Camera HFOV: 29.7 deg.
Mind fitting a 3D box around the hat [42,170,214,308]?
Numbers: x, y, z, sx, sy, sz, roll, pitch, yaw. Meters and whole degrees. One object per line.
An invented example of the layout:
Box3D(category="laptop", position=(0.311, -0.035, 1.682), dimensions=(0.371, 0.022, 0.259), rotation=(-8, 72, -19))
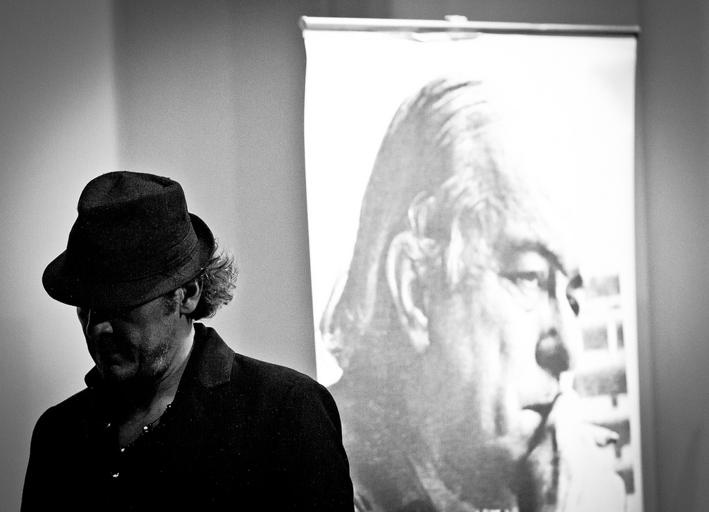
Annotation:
Box3D(category="hat", position=(-0.708, -0.047, 4.142), dimensions=(0.514, 0.419, 0.203), rotation=(-3, 2, -13))

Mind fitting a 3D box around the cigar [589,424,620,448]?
Box3D(category="cigar", position=(0.912, 0.650, 4.873), dimensions=(0.091, 0.073, 0.025), rotation=(34, -11, -19))
